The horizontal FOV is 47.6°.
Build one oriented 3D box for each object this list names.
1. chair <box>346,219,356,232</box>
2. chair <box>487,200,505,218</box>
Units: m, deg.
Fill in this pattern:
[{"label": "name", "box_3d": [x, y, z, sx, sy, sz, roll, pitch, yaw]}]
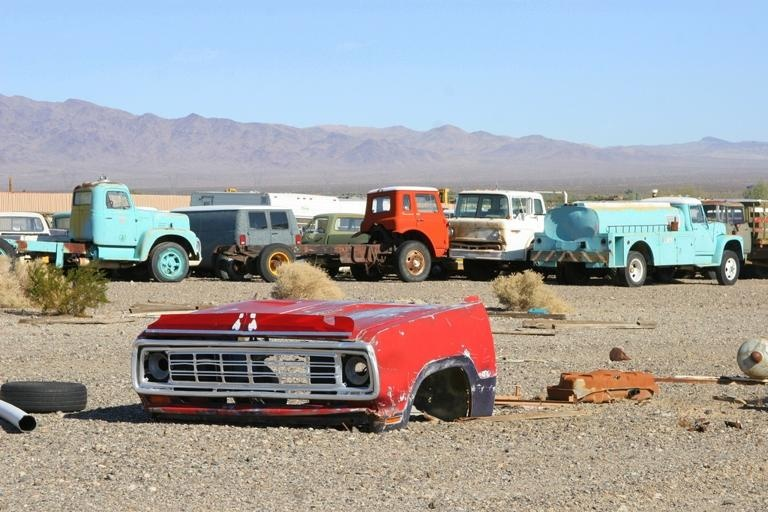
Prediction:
[{"label": "chair", "box_3d": [-0.972, -0.946, 26.825, 0.338, 0.315, 0.604, 0, -4, 15]}, {"label": "chair", "box_3d": [3.264, -1.353, 25.362, 0.506, 0.435, 0.289, 5, 9, 39]}]
